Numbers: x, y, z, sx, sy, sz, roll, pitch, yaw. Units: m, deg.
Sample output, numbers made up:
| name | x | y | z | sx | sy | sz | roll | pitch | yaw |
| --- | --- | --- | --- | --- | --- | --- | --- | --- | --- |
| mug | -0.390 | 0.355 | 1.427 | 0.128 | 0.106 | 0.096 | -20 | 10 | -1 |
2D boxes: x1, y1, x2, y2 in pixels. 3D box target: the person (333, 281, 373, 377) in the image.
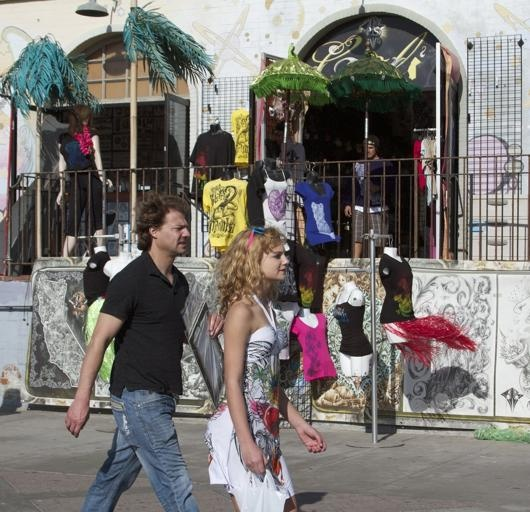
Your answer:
| name | x | y | z | sx | sy | sz | roll | pitch | yaw |
| --- | --- | --- | --- | --- | --- | --- | --- | --- | --- |
| person | 0.954 | 0.796 | 12.997 | 0.417 | 0.998 | 0.299 | 1 | 3 | 14 |

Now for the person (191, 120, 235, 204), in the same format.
| name | x | y | z | sx | sy | sz | roll | pitch | yaw |
| --- | --- | --- | --- | --- | --- | --- | --- | --- | --- |
| person | -0.718 | -1.326 | 16.600 | 0.630 | 1.183 | 2.182 | 0 | 3 | -3 |

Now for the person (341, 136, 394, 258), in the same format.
| name | x | y | z | sx | sy | sz | roll | pitch | yaw |
| --- | --- | --- | --- | --- | --- | --- | --- | --- | --- |
| person | 1.258 | -0.562 | 14.711 | 0.464 | 1.791 | 0.500 | 3 | 26 | 11 |

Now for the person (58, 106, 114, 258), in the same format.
| name | x | y | z | sx | sy | sz | roll | pitch | yaw |
| --- | --- | --- | --- | --- | --- | --- | --- | --- | --- |
| person | -2.295 | -0.904 | 15.505 | 0.621 | 2.363 | 0.386 | 0 | -29 | -16 |

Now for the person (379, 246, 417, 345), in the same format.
| name | x | y | z | sx | sy | sz | roll | pitch | yaw |
| --- | --- | --- | --- | --- | --- | --- | --- | --- | --- |
| person | 1.445 | 0.421 | 13.040 | 0.379 | 1.039 | 0.431 | 0 | 3 | 9 |

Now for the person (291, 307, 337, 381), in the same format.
| name | x | y | z | sx | sy | sz | roll | pitch | yaw |
| --- | --- | --- | --- | --- | --- | --- | --- | --- | --- |
| person | 0.560 | 0.975 | 13.605 | 0.526 | 0.965 | 0.277 | -13 | 2 | -39 |
